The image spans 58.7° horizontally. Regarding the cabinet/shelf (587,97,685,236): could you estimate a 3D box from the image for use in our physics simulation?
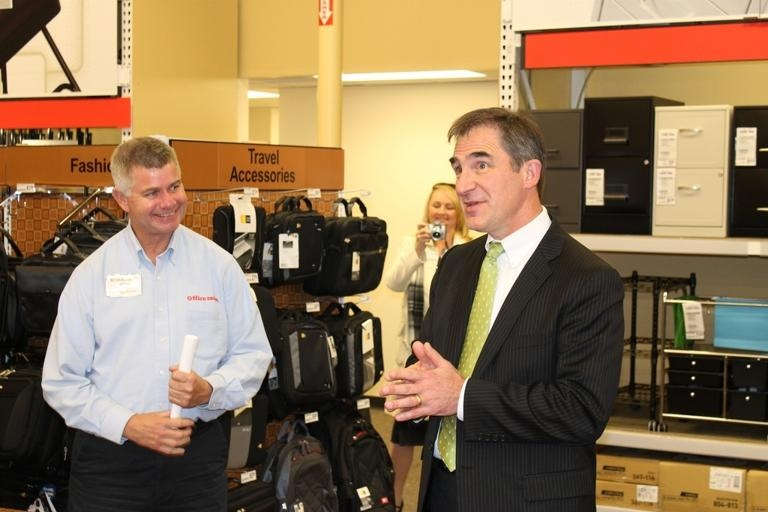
[{"bbox_3d":[1.393,-0.433,4.074,0.401,0.739,0.533,2,-15,20],"label":"cabinet/shelf"}]

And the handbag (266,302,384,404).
[{"bbox_3d":[-0.461,0.733,4.929,0.394,0.722,1.007,3,4,36],"label":"handbag"}]
